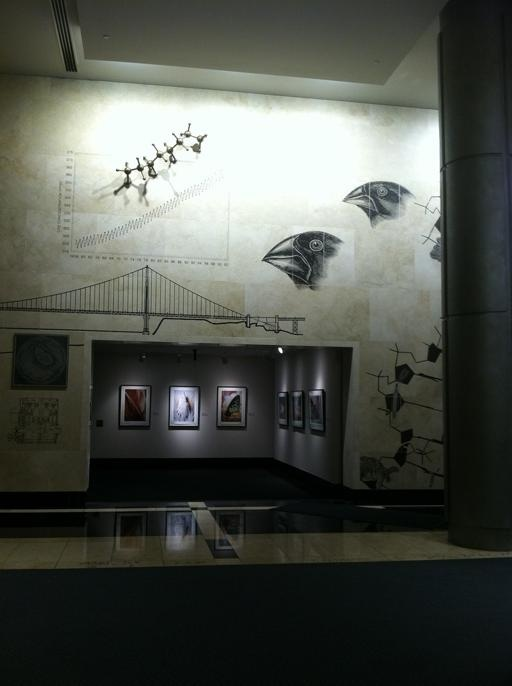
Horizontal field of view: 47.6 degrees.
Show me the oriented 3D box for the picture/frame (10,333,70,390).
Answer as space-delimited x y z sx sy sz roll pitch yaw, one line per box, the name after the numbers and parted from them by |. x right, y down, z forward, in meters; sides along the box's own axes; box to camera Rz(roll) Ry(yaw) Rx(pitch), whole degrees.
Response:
-3.629 0.291 9.808 0.892 1.010 0.040 2 23 -22 | picture/frame
